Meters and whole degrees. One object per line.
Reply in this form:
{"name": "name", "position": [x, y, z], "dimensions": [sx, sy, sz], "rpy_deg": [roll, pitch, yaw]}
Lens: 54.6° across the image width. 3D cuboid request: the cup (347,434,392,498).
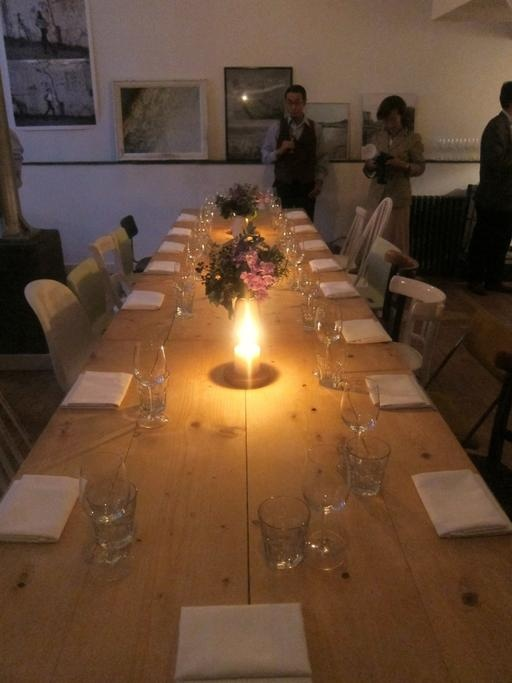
{"name": "cup", "position": [0.251, 0.307, 1.246], "dimensions": [0.116, 0.134, 0.127], "rpy_deg": [-1, 24, 0]}
